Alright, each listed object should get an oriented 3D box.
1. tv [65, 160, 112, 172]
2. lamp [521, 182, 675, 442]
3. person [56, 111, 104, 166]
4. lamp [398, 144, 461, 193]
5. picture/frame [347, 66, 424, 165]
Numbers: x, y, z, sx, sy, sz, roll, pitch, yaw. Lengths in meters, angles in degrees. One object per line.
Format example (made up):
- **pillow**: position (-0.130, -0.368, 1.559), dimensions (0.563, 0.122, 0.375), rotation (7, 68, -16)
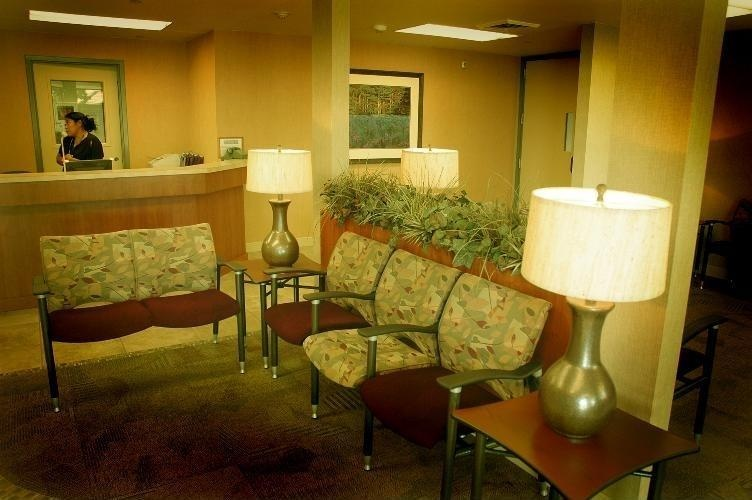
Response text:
- **tv**: position (-3.098, -0.904, 5.820), dimensions (0.449, 0.118, 0.324), rotation (-9, 17, -28)
- **lamp**: position (1.047, 0.290, 2.677), dimensions (0.661, 1.212, 0.472), rotation (2, 17, 10)
- **person**: position (-3.767, -1.367, 6.875), dimensions (0.754, 0.709, 0.433), rotation (10, 19, 18)
- **lamp**: position (0.500, -0.752, 5.053), dimensions (0.506, 0.320, 0.488), rotation (2, 8, 1)
- **picture/frame**: position (0.163, -2.070, 8.420), dimensions (1.308, 1.387, 0.160), rotation (-8, 18, -23)
